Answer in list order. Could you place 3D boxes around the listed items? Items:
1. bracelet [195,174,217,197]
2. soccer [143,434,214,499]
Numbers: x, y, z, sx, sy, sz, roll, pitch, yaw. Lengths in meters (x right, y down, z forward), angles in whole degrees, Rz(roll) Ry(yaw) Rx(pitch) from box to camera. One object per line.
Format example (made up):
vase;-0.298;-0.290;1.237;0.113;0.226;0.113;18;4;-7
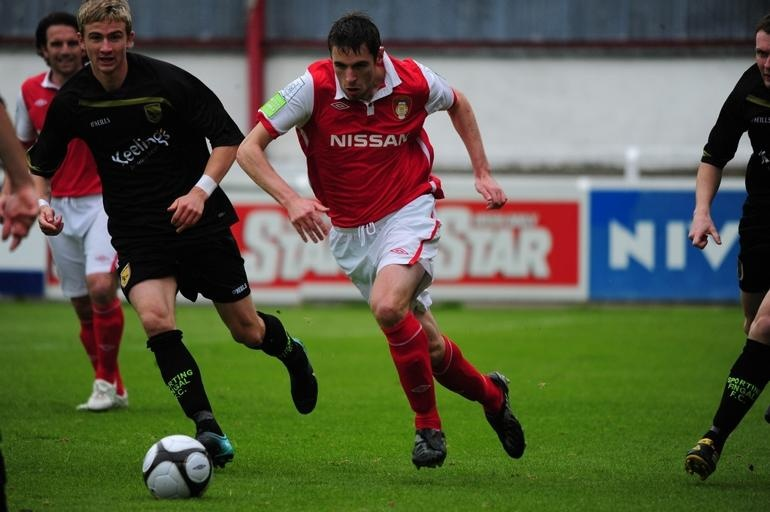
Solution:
bracelet;-1.216;-0.498;7.340;0.144;0.142;0.112;39;65;20
soccer;-1.331;1.345;6.836;0.389;0.387;0.367;-27;9;-23
